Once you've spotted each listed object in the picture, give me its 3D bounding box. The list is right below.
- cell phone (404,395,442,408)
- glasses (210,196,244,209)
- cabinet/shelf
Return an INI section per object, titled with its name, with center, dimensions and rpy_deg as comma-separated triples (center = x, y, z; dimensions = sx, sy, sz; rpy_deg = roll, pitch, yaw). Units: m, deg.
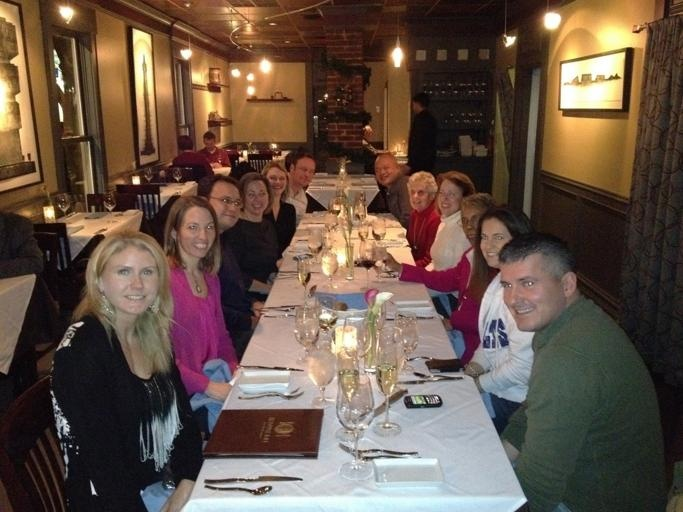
[cell phone]
center = 0.300, 0.522, 1.777
dimensions = 0.093, 0.020, 0.055
rpy_deg = 1, 12, -2
[glasses]
center = -0.793, -0.370, 3.336
dimensions = 0.153, 0.048, 0.148
rpy_deg = 17, 11, 34
[cabinet/shelf]
center = 2.007, -2.728, 8.720
dimensions = 1.445, 1.741, 0.496
rpy_deg = -1, 14, 0
